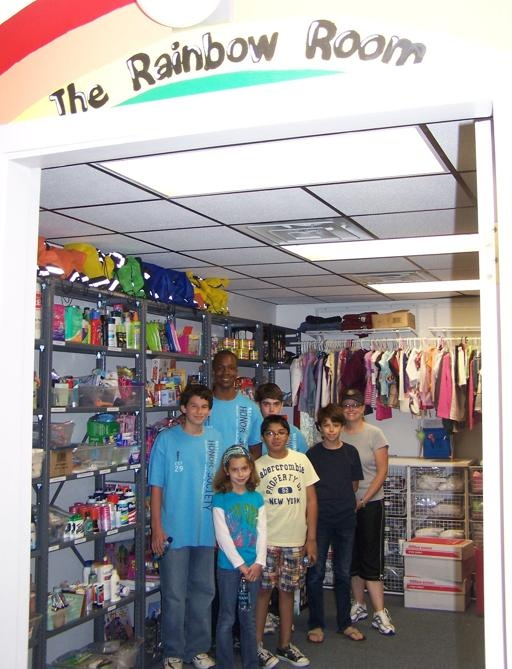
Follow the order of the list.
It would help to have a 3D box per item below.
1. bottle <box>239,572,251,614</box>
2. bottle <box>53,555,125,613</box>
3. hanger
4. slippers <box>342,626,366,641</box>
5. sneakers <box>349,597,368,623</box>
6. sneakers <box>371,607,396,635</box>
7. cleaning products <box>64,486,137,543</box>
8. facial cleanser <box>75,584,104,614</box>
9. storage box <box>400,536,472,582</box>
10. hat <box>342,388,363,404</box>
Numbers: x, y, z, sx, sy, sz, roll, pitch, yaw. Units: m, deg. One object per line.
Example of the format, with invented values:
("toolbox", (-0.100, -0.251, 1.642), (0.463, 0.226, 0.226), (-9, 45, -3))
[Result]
("bottle", (-0.072, 1.680, 3.417), (0.077, 0.217, 0.055), (1, -11, 0))
("bottle", (-1.113, 1.683, 3.598), (0.333, 0.329, 0.336), (1, -9, -7))
("hanger", (1.634, 0.103, 7.092), (1.793, 0.262, 0.428), (0, 13, 17))
("slippers", (0.823, 2.469, 4.376), (0.068, 0.079, 0.187), (-27, -2, -38))
("sneakers", (0.932, 2.515, 4.777), (0.097, 0.126, 0.285), (-12, -25, 22))
("sneakers", (1.110, 2.451, 4.501), (0.111, 0.212, 0.303), (3, -16, -17))
("cleaning products", (-1.096, 1.224, 3.667), (0.335, 0.286, 0.840), (-2, -12, 16))
("facial cleanser", (-1.111, 1.754, 3.496), (0.108, 0.189, 0.199), (-7, -11, 22))
("storage box", (1.795, 2.236, 5.214), (0.532, 0.278, 0.395), (-1, -4, 28))
("hat", (0.849, 0.532, 4.576), (0.158, 0.128, 0.268), (-5, -13, 29))
